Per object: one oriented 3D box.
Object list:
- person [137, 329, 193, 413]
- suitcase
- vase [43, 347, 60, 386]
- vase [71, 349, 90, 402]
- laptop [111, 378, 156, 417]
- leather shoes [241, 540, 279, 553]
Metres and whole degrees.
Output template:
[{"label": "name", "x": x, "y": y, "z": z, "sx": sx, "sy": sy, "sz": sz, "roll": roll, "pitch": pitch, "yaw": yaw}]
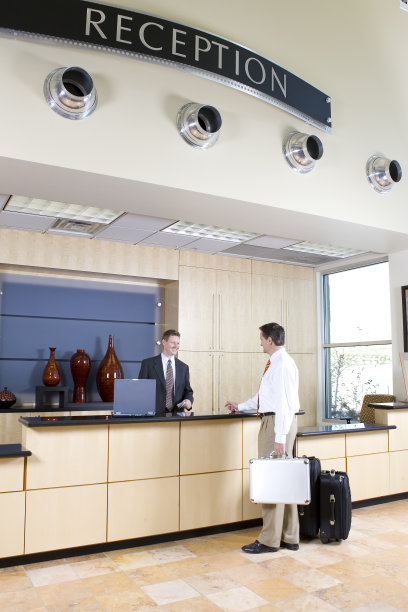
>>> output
[{"label": "person", "x": -0.356, "y": 0.605, "z": 4.390, "sx": 0.505, "sy": 0.751, "sz": 0.511, "roll": 1, "pitch": -9, "yaw": -5}, {"label": "suitcase", "x": 0.529, "y": 1.216, "z": 3.239, "sx": 0.462, "sy": 0.414, "sz": 0.283, "roll": 0, "pitch": -6, "yaw": 0}, {"label": "vase", "x": -1.842, "y": 0.737, "z": 5.684, "sx": 0.212, "sy": 0.479, "sz": 0.288, "roll": 4, "pitch": -10, "yaw": -19}, {"label": "vase", "x": -1.540, "y": 0.870, "z": 5.804, "sx": 0.225, "sy": 0.648, "sz": 0.199, "roll": 3, "pitch": -10, "yaw": -18}, {"label": "laptop", "x": -0.546, "y": 0.646, "z": 3.633, "sx": 0.359, "sy": 0.366, "sz": 0.265, "roll": 1, "pitch": -4, "yaw": -10}, {"label": "leather shoes", "x": 0.406, "y": 1.762, "z": 3.444, "sx": 0.193, "sy": 0.091, "sz": 0.103, "roll": 8, "pitch": -16, "yaw": -6}]
